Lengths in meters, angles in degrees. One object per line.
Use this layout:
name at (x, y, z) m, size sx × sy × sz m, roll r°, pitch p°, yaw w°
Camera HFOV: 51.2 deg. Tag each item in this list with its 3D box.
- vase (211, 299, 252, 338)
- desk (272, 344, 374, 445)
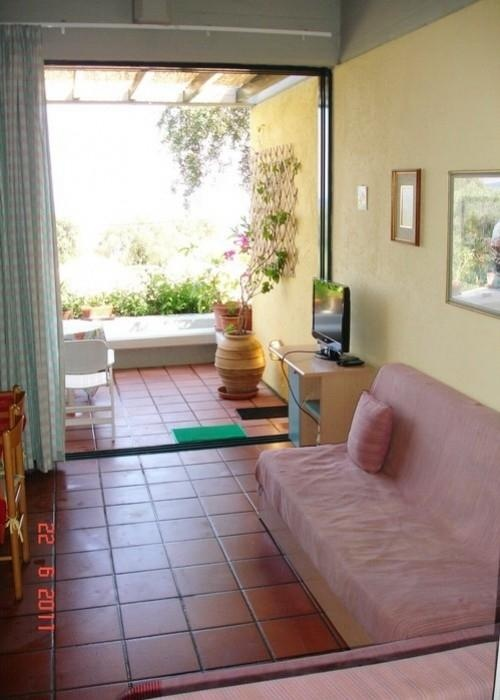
vase at (-0.201, -0.413, 6.703) m, size 0.447 × 0.298 × 0.464 m, roll -1°, pitch 6°, yaw -3°
desk at (0.547, 0.330, 4.231) m, size 0.600 × 0.883 × 1.218 m, roll -1°, pitch 10°, yaw -7°
